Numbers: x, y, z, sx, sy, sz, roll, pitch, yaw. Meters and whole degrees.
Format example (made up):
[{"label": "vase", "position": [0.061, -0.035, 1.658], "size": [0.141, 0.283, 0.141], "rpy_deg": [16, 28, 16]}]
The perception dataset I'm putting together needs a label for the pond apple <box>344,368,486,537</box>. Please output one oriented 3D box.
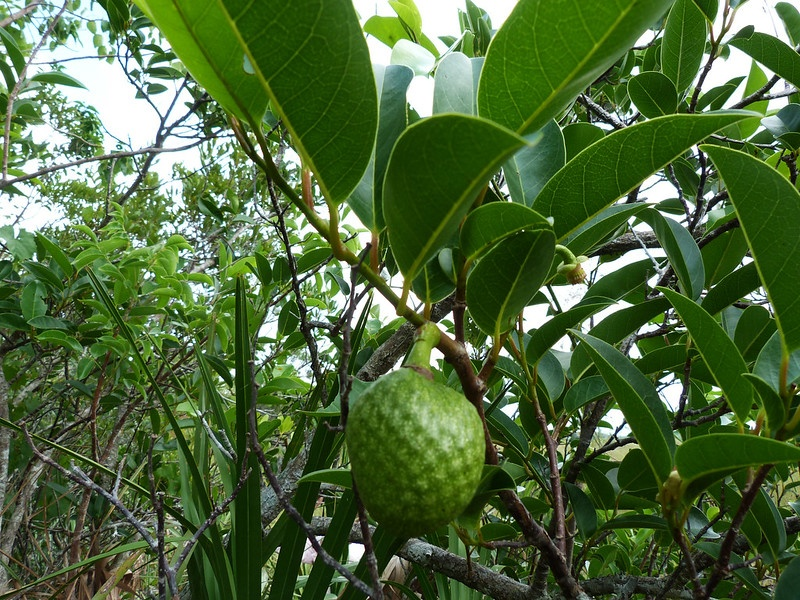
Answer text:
[{"label": "pond apple", "position": [0.039, 0.308, 1.353], "size": [0.262, 0.348, 0.254], "rpy_deg": [10, -6, -38]}]
